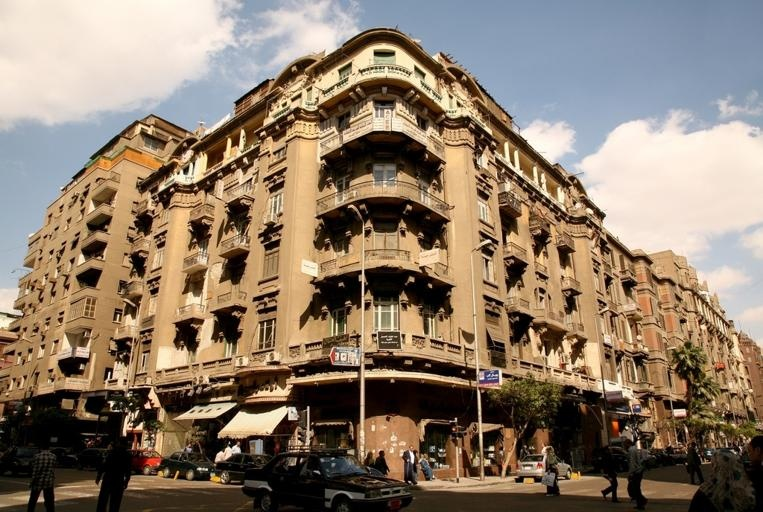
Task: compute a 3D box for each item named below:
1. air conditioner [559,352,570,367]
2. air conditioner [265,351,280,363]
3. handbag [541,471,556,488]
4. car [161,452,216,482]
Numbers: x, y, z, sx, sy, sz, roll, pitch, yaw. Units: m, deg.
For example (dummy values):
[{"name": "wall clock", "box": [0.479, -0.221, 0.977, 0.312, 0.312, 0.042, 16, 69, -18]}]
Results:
[{"name": "air conditioner", "box": [18.395, 10.426, 55.696, 0.798, 1.469, 1.129, -13, -25, 40]}, {"name": "air conditioner", "box": [-8.562, 7.930, 43.457, 0.694, 0.619, 0.361, -18, -30, 39]}, {"name": "handbag", "box": [9.699, 12.873, 31.884, 0.771, 0.755, 0.404, -6, -26, 14]}, {"name": "car", "box": [-14.474, 15.608, 41.022, 4.640, 2.065, 1.368, -16, -30, 31]}]
